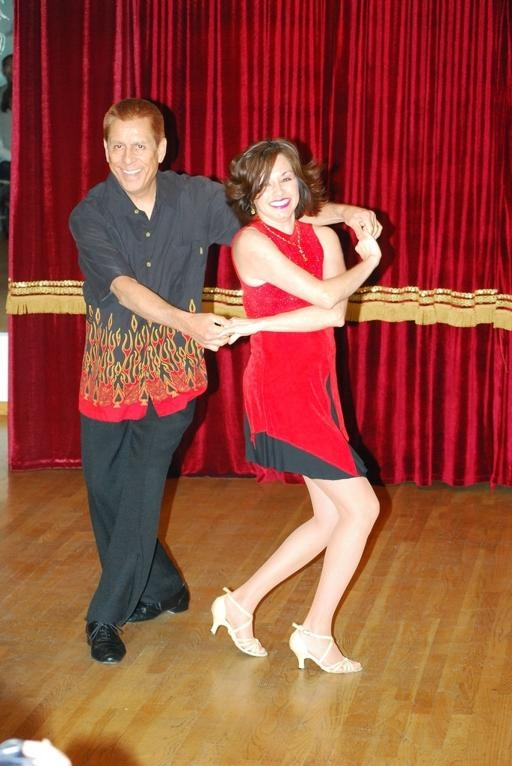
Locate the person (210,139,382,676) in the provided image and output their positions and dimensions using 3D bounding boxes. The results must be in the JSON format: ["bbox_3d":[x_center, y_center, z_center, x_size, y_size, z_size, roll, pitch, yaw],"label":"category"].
[{"bbox_3d":[0.109,0.106,1.734,0.459,1.541,0.355,-1,8,-5],"label":"person"}]

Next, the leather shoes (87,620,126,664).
[{"bbox_3d":[-0.471,0.817,1.920,0.064,0.061,0.162,-4,9,-23],"label":"leather shoes"}]

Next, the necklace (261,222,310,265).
[{"bbox_3d":[0.085,-0.379,1.661,0.104,0.095,0.058,-3,9,-21],"label":"necklace"}]

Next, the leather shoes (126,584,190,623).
[{"bbox_3d":[-0.344,0.802,2.252,0.242,0.102,0.081,-9,28,-29],"label":"leather shoes"}]

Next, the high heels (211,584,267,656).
[{"bbox_3d":[-0.051,0.763,1.958,0.230,0.145,0.078,44,17,-1],"label":"high heels"}]

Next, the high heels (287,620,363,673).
[{"bbox_3d":[0.187,0.787,1.871,0.247,0.166,0.108,4,4,-8],"label":"high heels"}]
